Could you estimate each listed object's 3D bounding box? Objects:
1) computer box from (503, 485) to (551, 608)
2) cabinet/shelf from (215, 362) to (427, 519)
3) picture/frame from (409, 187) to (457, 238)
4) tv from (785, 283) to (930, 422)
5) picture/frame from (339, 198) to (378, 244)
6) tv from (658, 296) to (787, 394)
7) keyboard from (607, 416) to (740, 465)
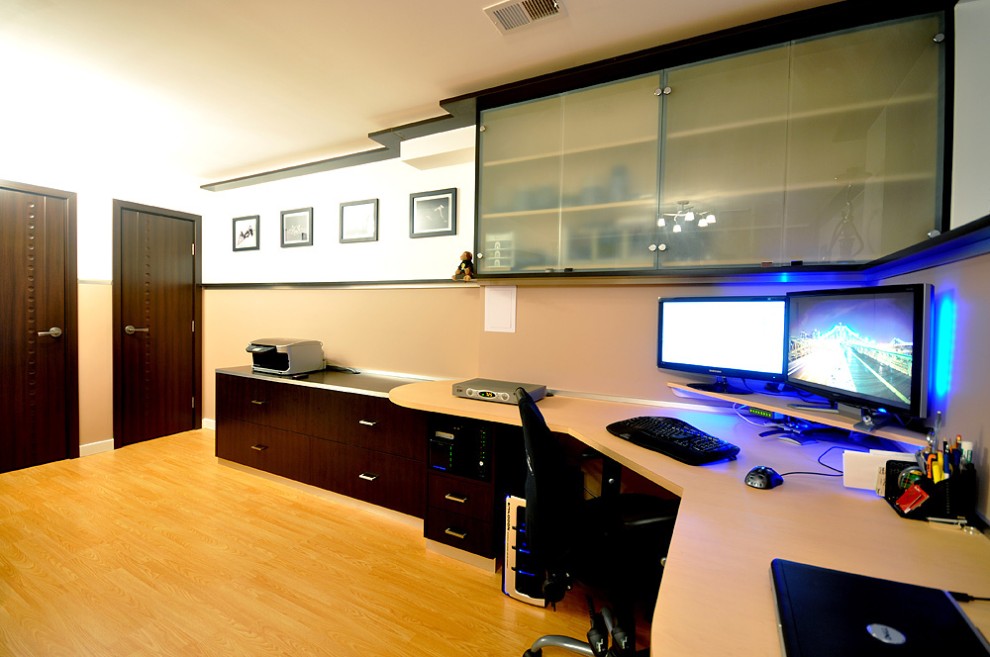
[{"bbox_3d":[0.287,1.408,4.139,0.445,0.625,0.429,2,1,-11],"label":"computer box"},{"bbox_3d":[-1.287,0.864,5.392,2.345,0.918,0.735,5,6,31],"label":"cabinet/shelf"},{"bbox_3d":[-0.503,-0.946,5.280,0.448,0.369,0.038,0,0,31],"label":"picture/frame"},{"bbox_3d":[1.887,0.147,3.493,0.810,0.705,0.146,4,-7,-6],"label":"tv"},{"bbox_3d":[-1.202,-0.926,5.604,0.023,0.347,0.406,19,23,36],"label":"picture/frame"},{"bbox_3d":[1.426,0.092,3.979,0.607,0.423,0.182,3,5,33],"label":"tv"},{"bbox_3d":[0.973,0.615,3.630,0.274,0.115,0.492,-7,8,-30],"label":"keyboard"}]
